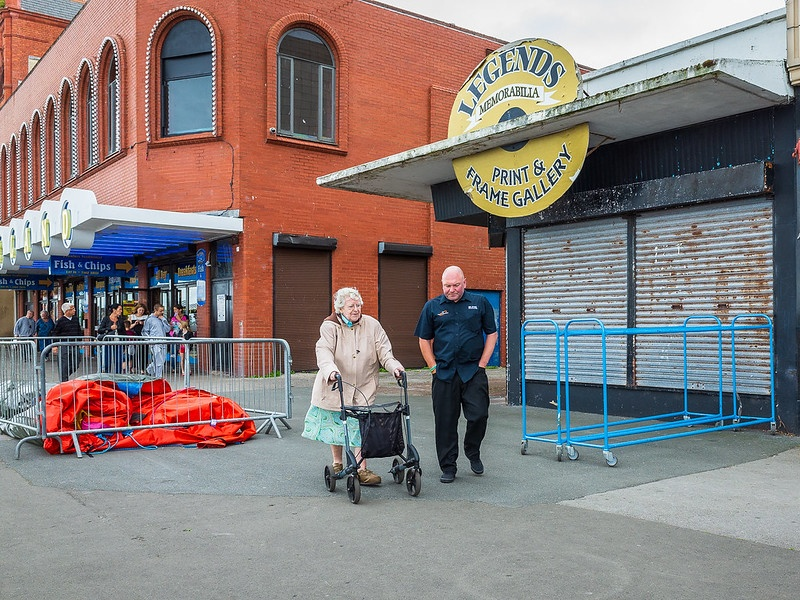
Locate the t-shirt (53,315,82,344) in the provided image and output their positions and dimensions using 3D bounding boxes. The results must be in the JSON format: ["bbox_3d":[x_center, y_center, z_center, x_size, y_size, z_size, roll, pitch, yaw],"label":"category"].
[{"bbox_3d":[-6.972,0.637,17.129,0.605,0.581,0.338,2,-7,-42],"label":"t-shirt"}]

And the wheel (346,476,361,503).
[{"bbox_3d":[-0.468,1.952,8.366,0.136,0.269,0.184,0,8,-2],"label":"wheel"}]

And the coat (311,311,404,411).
[{"bbox_3d":[-0.585,0.734,9.214,0.993,1.178,1.032,2,-9,-24],"label":"coat"}]

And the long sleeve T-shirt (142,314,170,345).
[{"bbox_3d":[-4.630,0.572,15.495,0.312,0.557,0.454,-5,-7,22],"label":"long sleeve T-shirt"}]

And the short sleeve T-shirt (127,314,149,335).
[{"bbox_3d":[-6.006,0.588,18.729,0.475,0.618,0.386,1,-5,-35],"label":"short sleeve T-shirt"}]

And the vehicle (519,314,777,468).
[{"bbox_3d":[3.029,1.163,11.193,3.358,1.747,1.715,-3,2,-35],"label":"vehicle"}]

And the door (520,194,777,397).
[{"bbox_3d":[3.859,-0.081,12.212,0.209,2.158,3.262,3,-4,-45],"label":"door"}]

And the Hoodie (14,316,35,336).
[{"bbox_3d":[-11.733,0.844,25.585,0.386,0.640,0.717,-6,-9,30],"label":"Hoodie"}]

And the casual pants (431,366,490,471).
[{"bbox_3d":[0.688,1.356,9.143,0.602,1.146,0.401,-1,8,-6],"label":"casual pants"}]

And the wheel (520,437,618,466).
[{"bbox_3d":[2.051,1.848,9.945,1.207,0.244,0.377,4,8,27],"label":"wheel"}]

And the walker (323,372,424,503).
[{"bbox_3d":[-0.286,1.461,8.935,1.049,1.421,1.296,-1,3,-13],"label":"walker"}]

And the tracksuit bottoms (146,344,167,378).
[{"bbox_3d":[-3.418,0.859,11.508,0.266,0.421,0.365,-2,8,-17],"label":"tracksuit bottoms"}]

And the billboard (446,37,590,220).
[{"bbox_3d":[1.809,-2.583,12.303,0.688,2.639,2.550,-5,9,-34],"label":"billboard"}]

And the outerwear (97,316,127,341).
[{"bbox_3d":[-6.072,0.609,17.270,0.482,0.495,0.346,3,-8,-30],"label":"outerwear"}]
